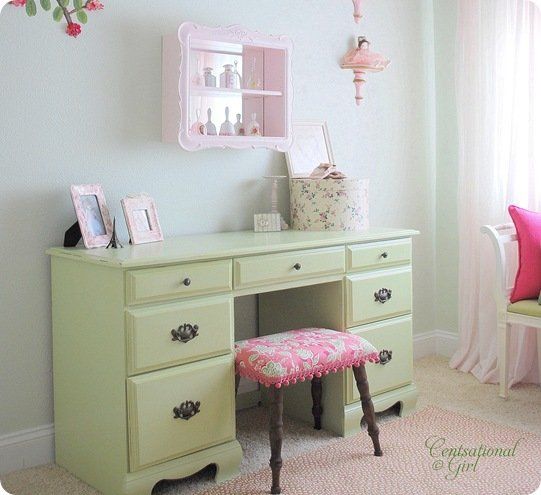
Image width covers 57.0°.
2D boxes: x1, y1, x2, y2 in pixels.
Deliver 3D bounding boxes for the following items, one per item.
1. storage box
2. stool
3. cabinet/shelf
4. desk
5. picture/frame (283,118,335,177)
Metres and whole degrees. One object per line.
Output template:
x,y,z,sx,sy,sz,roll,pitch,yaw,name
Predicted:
0.288,-0.214,2.470,0.388,0.256,0.138,0,5,8,storage box
0.177,0.468,1.930,0.554,0.560,0.482,-1,-1,-41,stool
-0.205,-0.710,2.210,0.163,0.532,0.550,6,8,43,cabinet/shelf
-0.067,0.390,2.226,1.620,0.902,0.689,-4,7,-40,desk
0.189,-0.515,2.597,0.255,0.242,0.024,-32,18,-37,picture/frame
